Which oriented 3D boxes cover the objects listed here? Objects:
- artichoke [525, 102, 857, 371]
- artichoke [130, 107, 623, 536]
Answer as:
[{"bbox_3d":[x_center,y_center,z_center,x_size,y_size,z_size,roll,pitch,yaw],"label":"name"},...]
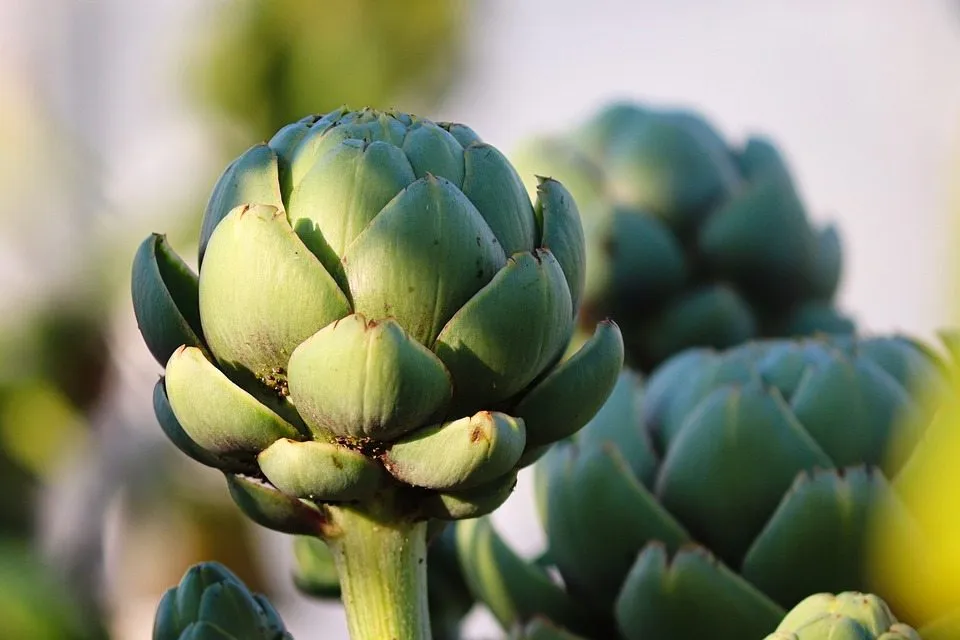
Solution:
[{"bbox_3d":[0.276,-0.137,2.513,0.360,0.253,0.312,25,-14,6],"label":"artichoke"},{"bbox_3d":[-0.128,0.056,2.170,0.542,0.569,0.617,-8,2,-3],"label":"artichoke"}]
